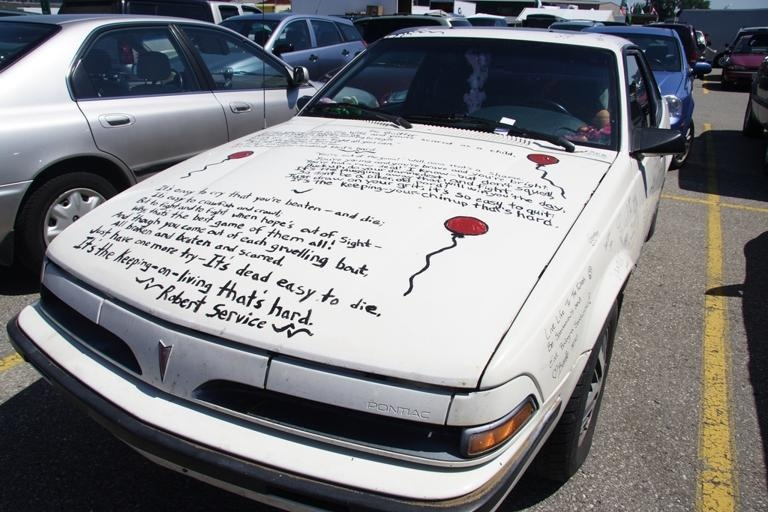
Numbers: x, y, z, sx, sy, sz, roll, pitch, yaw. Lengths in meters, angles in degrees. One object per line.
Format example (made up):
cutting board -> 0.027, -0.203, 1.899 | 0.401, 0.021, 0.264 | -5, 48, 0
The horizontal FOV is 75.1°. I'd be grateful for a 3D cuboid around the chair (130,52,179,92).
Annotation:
chair -> -2.076, -1.641, 4.646 | 0.441, 0.434, 0.387 | -11, 27, -35
